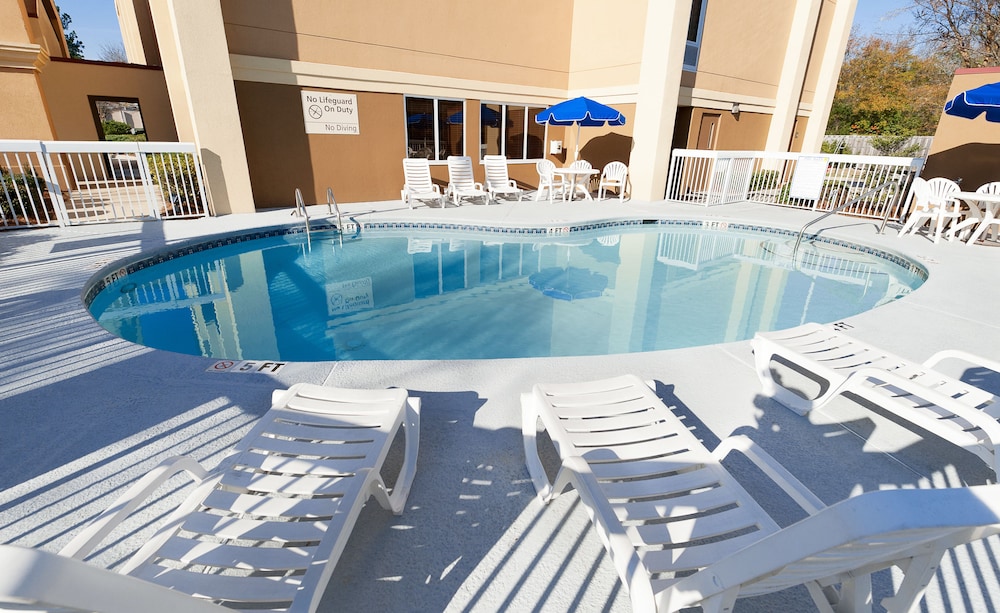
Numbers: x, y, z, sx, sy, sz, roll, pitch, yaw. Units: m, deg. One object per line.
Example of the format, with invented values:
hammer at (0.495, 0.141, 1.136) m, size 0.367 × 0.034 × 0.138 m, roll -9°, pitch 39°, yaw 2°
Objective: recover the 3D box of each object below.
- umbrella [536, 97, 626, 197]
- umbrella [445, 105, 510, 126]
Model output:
umbrella at (2.445, -4.761, 14.847) m, size 2.953 × 2.868 × 2.761 m, roll -6°, pitch 31°, yaw -13°
umbrella at (-0.433, -5.588, 14.702) m, size 1.117 × 0.480 × 1.047 m, roll -4°, pitch 21°, yaw -7°
